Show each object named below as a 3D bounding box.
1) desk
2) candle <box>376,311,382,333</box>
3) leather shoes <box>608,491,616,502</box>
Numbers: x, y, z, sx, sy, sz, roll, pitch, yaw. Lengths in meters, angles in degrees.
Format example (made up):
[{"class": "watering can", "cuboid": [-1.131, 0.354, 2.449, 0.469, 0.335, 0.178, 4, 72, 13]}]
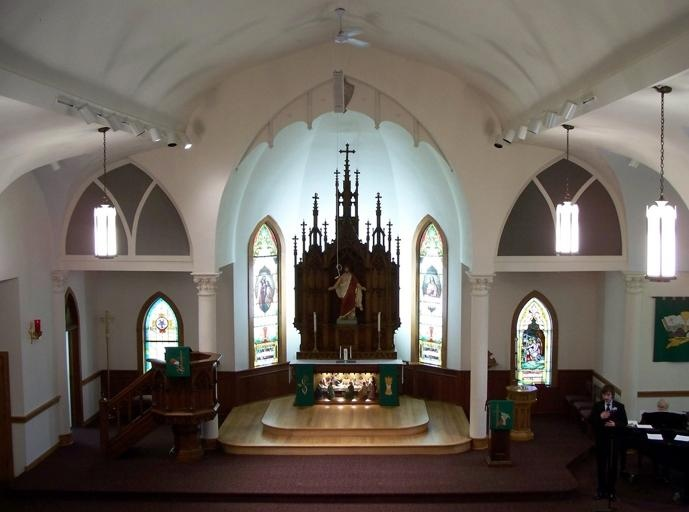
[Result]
[{"class": "desk", "cuboid": [0.087, 3.337, 14.990, 2.946, 1.179, 0.962, -1, 1, 5]}, {"class": "candle", "cuboid": [0.943, 1.816, 15.193, 0.081, 0.556, 0.259, 2, 11, 18]}, {"class": "leather shoes", "cuboid": [5.091, 4.602, 10.736, 0.131, 0.171, 0.140, -1, -3, -6]}]
